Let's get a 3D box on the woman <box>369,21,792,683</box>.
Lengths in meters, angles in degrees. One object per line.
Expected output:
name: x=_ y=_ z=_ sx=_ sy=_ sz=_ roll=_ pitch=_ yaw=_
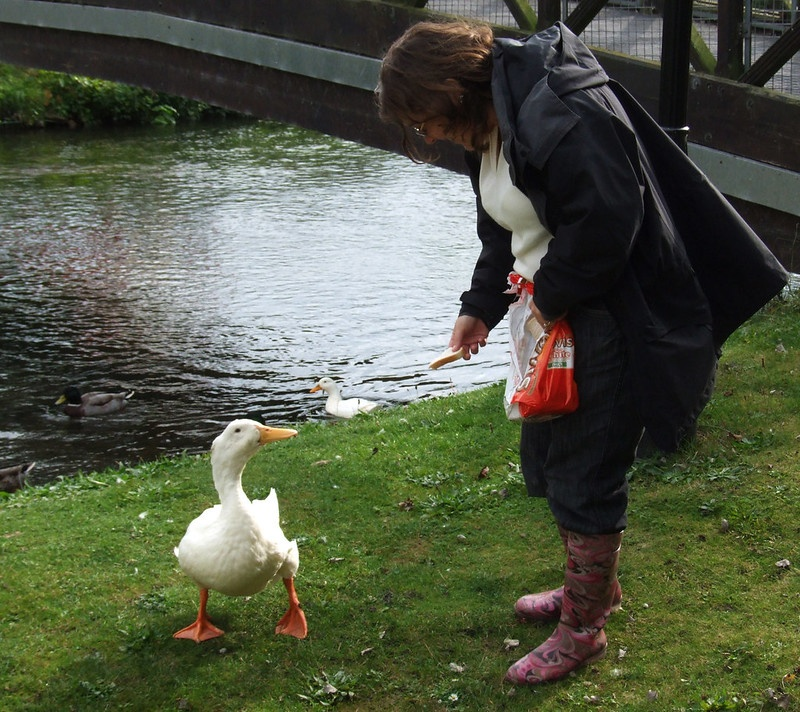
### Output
woman: x=1.106 y=-0.559 z=4.409 sx=1.398 sy=1.765 sz=1.308 roll=-18 pitch=18 yaw=-21

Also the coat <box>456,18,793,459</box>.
coat: x=1.150 y=-0.477 z=4.011 sx=1.307 sy=1.730 sz=0.579 roll=0 pitch=17 yaw=2

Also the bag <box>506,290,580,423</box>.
bag: x=0.770 y=0.004 z=4.083 sx=0.305 sy=0.534 sz=0.561 roll=1 pitch=11 yaw=-7

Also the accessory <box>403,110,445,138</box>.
accessory: x=0.172 y=-0.986 z=3.998 sx=0.092 sy=0.054 sz=0.112 roll=-20 pitch=-3 yaw=-43

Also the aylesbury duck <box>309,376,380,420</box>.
aylesbury duck: x=-0.485 y=0.464 z=10.798 sx=0.582 sy=0.304 sz=1.405 roll=-5 pitch=15 yaw=-16

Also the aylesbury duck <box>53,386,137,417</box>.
aylesbury duck: x=-3.696 y=0.536 z=10.932 sx=0.897 sy=0.331 sz=0.370 roll=-4 pitch=9 yaw=-25

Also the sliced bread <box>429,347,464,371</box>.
sliced bread: x=0.322 y=0.010 z=4.513 sx=0.125 sy=0.029 sz=0.145 roll=-25 pitch=1 yaw=3
